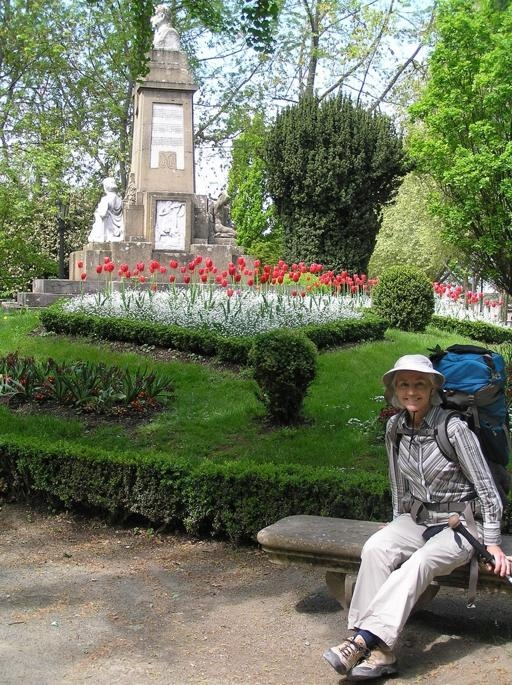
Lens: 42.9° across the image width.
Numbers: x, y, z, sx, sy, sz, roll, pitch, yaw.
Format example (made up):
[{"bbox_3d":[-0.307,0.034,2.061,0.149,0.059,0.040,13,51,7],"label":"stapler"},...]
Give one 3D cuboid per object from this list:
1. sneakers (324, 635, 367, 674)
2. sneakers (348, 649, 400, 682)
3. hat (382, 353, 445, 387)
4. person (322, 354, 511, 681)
[{"bbox_3d":[0.370,1.262,2.700,0.104,0.090,0.240,-36,-16,8],"label":"sneakers"},{"bbox_3d":[0.492,1.324,2.710,0.277,0.122,0.089,12,-13,-34],"label":"sneakers"},{"bbox_3d":[0.851,0.149,3.553,0.410,0.150,0.524,2,-5,17],"label":"hat"},{"bbox_3d":[0.760,0.739,2.944,0.709,1.392,0.795,-2,-3,23],"label":"person"}]
